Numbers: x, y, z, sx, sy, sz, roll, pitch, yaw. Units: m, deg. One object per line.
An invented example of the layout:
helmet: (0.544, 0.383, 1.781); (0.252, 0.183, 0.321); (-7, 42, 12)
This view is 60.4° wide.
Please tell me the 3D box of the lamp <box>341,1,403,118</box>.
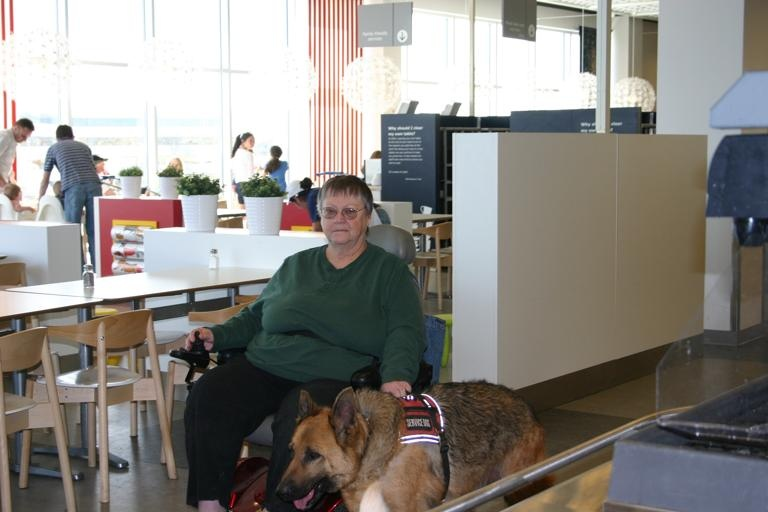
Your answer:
lamp: (-0.292, -3.846, 13.178); (1.065, 2.052, 2.273); (-3, 5, -2)

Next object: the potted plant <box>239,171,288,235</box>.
potted plant: (-1.014, -0.429, 5.475); (0.443, 0.583, 0.412); (0, -3, -7)

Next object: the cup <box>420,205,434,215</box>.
cup: (0.680, -0.719, 10.370); (0.143, 0.167, 0.226); (1, 0, -2)
